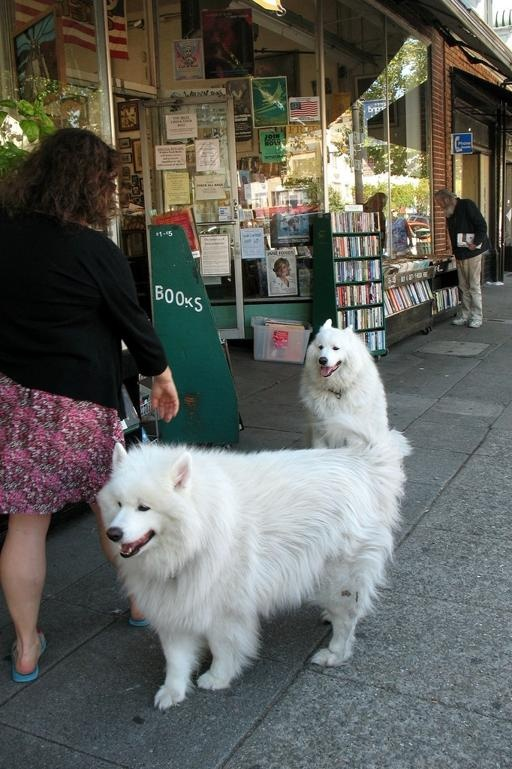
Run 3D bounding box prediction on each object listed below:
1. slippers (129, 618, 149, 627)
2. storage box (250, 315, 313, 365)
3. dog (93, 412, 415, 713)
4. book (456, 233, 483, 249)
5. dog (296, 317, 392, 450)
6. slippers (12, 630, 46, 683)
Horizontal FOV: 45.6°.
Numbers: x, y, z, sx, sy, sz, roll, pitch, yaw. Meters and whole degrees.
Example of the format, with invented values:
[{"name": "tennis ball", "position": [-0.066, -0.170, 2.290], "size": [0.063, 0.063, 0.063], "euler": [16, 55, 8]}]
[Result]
[{"name": "slippers", "position": [-0.496, 1.014, 2.603], "size": [0.082, 0.035, 0.031], "euler": [3, 8, 9]}, {"name": "storage box", "position": [0.336, -0.562, 8.006], "size": [0.694, 0.471, 0.494], "euler": [2, 8, -2]}, {"name": "dog", "position": [0.061, 0.646, 2.181], "size": [1.085, 0.779, 0.402], "euler": [-2, -5, -25]}, {"name": "book", "position": [3.293, -2.216, 9.393], "size": [0.326, 0.423, 0.047], "euler": [0, 47, 11]}, {"name": "dog", "position": [0.531, 0.037, 3.791], "size": [0.528, 0.842, 0.694], "euler": [-2, 11, 9]}, {"name": "slippers", "position": [-0.862, 1.032, 2.314], "size": [0.073, 0.051, 0.186], "euler": [3, 27, -9]}]
